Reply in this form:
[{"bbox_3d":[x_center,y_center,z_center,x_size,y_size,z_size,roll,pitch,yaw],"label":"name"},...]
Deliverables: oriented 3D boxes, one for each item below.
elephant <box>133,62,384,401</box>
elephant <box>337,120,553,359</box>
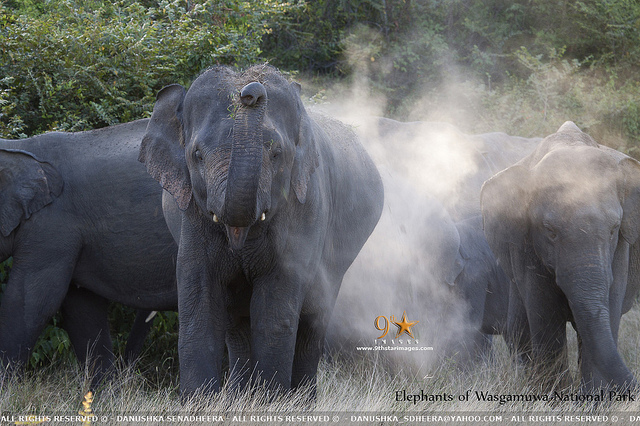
[{"bbox_3d":[-0.474,0.226,5.242,1.497,2.435,3.299,4,-5,9],"label":"elephant"},{"bbox_3d":[1.357,0.052,7.341,1.950,1.766,2.709,4,1,36],"label":"elephant"}]
